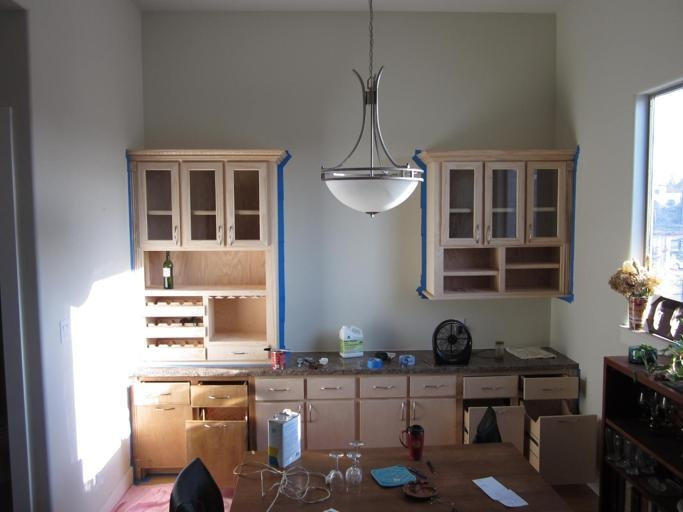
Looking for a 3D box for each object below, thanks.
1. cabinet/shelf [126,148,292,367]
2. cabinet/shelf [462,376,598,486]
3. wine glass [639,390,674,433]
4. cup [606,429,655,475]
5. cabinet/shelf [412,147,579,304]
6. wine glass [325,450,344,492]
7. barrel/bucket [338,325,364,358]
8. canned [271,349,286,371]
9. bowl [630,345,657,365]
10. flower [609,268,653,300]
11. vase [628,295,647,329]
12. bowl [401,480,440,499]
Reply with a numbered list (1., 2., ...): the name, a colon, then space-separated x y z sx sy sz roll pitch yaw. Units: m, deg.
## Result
1. cabinet/shelf: -1.133 -0.025 5.107 1.709 2.351 0.679 0 1 -4
2. cabinet/shelf: 1.572 1.363 4.853 0.858 0.653 0.925 0 -4 0
3. wine glass: 2.019 0.970 3.966 0.198 0.253 0.267 -4 1 -42
4. cup: 1.889 1.257 3.995 0.154 0.295 0.295 -7 8 -20
5. cabinet/shelf: 1.285 -0.296 5.132 1.290 1.292 0.428 0 0 -1
6. wine glass: -0.055 1.294 3.767 0.154 0.280 0.179 0 0 -6
7. barrel/bucket: 0.086 0.723 5.250 0.195 0.213 0.108 -3 1 -6
8. canned: -0.510 0.836 5.020 0.117 0.135 0.136 -3 1 -8
9. bowl: 1.924 0.627 3.931 0.164 0.122 0.156 -3 0 0
10. flower: 2.012 0.186 4.251 0.171 0.149 0.209 0 0 19
11. vase: 2.069 0.395 4.297 0.119 0.241 0.081 -2 1 27
12. bowl: 0.459 1.359 3.590 0.189 0.072 0.136 -3 0 -17
